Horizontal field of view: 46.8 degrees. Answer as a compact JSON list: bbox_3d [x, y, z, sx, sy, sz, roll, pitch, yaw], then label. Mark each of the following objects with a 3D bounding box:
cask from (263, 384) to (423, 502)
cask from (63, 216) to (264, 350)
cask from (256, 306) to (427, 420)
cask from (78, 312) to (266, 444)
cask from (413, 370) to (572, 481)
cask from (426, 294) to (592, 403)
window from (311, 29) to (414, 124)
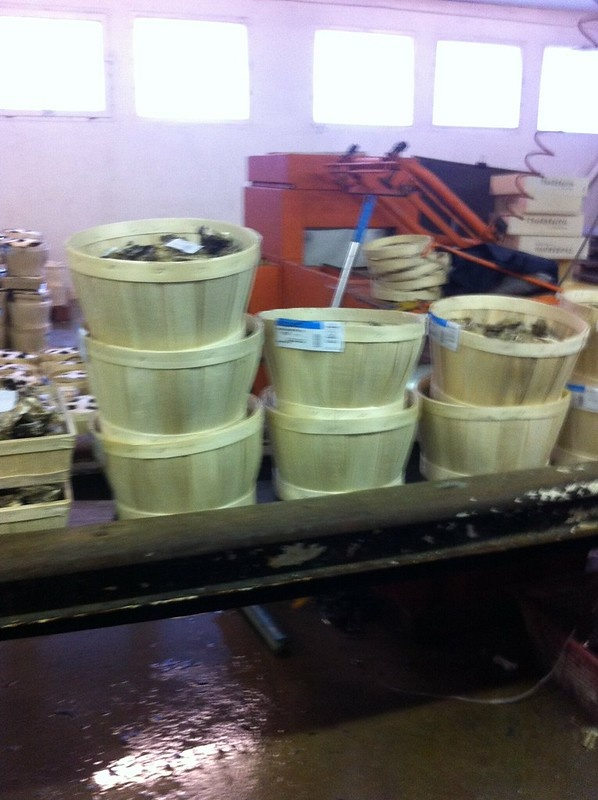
[{"bbox_3d":[0.079,0.064,1.391,0.282,0.160,0.241,-5,11,-24],"label":"cask"},{"bbox_3d":[-0.199,-0.163,1.122,0.280,0.113,0.259,-17,30,-30],"label":"cask"},{"bbox_3d":[0.075,-0.073,1.267,0.264,0.111,0.237,-1,8,-11],"label":"cask"},{"bbox_3d":[-0.211,-0.041,1.125,0.249,0.100,0.209,-8,19,-24],"label":"cask"},{"bbox_3d":[0.401,0.043,1.414,0.274,0.134,0.229,2,10,14],"label":"cask"},{"bbox_3d":[0.396,-0.094,1.434,0.322,0.158,0.252,-3,24,-3],"label":"cask"},{"bbox_3d":[0.084,-0.420,0.896,0.130,0.105,0.049,3,22,6],"label":"window"}]
